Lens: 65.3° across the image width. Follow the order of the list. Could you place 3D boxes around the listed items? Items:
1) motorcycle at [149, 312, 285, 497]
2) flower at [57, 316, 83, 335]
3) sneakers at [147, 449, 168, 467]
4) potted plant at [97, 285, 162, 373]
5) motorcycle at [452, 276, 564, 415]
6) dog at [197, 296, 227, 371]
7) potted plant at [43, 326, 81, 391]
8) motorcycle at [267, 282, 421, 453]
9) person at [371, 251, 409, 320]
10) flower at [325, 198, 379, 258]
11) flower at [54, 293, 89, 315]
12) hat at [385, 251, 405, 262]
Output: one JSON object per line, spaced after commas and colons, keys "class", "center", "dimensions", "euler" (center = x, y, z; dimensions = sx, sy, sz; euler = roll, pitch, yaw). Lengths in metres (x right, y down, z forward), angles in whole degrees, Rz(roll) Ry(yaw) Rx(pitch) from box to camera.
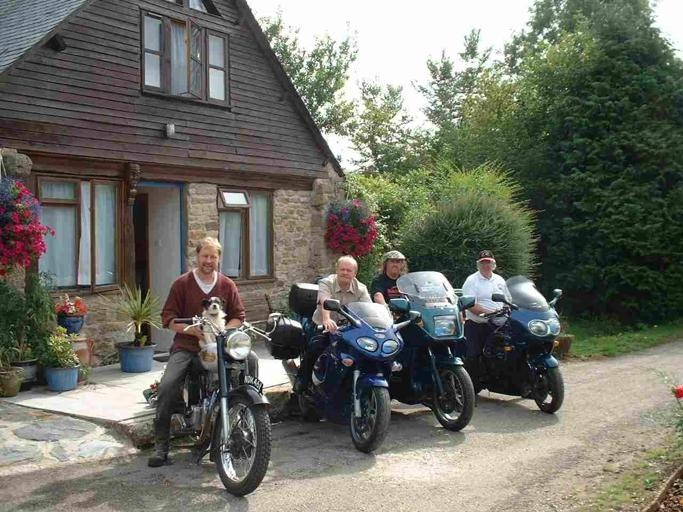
{"class": "motorcycle", "center": [-1.086, 1.311, 4.893], "dimensions": [1.343, 1.484, 0.538], "euler": [4, 5, 45]}
{"class": "flower", "center": [-4.159, 1.065, 8.202], "dimensions": [0.319, 0.229, 0.311], "euler": [-1, -7, 1]}
{"class": "sneakers", "center": [-1.810, 2.006, 5.243], "dimensions": [0.098, 0.100, 0.244], "euler": [-1, -13, 7]}
{"class": "potted plant", "center": [-3.381, 1.255, 8.885], "dimensions": [1.069, 1.339, 1.118], "euler": [-7, -9, 4]}
{"class": "motorcycle", "center": [2.390, 1.178, 7.821], "dimensions": [1.148, 1.780, 2.670], "euler": [3, 0, -17]}
{"class": "dog", "center": [-1.233, 0.724, 5.075], "dimensions": [0.357, 0.633, 0.419], "euler": [0, 11, -25]}
{"class": "potted plant", "center": [-3.904, 1.478, 7.484], "dimensions": [0.442, 0.789, 0.462], "euler": [-25, -16, 16]}
{"class": "motorcycle", "center": [-0.054, 1.213, 6.104], "dimensions": [0.821, 1.855, 1.762], "euler": [-2, 5, -38]}
{"class": "person", "center": [0.654, 0.326, 7.513], "dimensions": [0.618, 1.003, 0.694], "euler": [1, -13, -11]}
{"class": "flower", "center": [0.201, -0.747, 13.361], "dimensions": [1.341, 1.115, 1.325], "euler": [-6, 34, -2]}
{"class": "flower", "center": [-4.216, 0.795, 8.332], "dimensions": [0.482, 0.255, 0.438], "euler": [6, -4, -26]}
{"class": "hat", "center": [0.763, 0.010, 7.661], "dimensions": [0.211, 0.094, 0.268], "euler": [1, -6, -2]}
